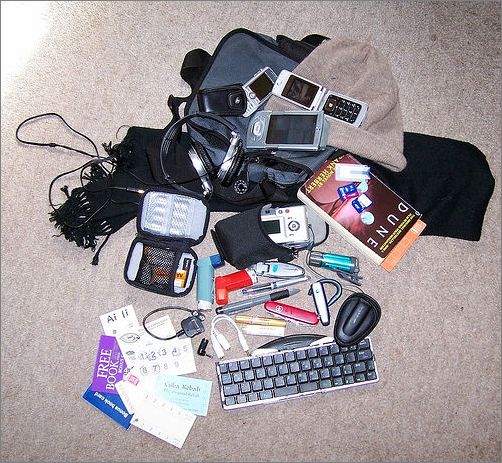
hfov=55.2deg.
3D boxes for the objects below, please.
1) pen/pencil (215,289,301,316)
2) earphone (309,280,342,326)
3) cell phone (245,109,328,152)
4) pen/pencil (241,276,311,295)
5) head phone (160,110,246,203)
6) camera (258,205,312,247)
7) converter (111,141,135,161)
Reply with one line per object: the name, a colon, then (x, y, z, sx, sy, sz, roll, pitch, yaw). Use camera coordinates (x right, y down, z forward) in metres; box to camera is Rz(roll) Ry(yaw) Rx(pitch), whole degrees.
pen/pencil: (0.028, 0.225, 1.526, 0.243, 0.028, 0.027, -14, 20, -2)
earphone: (0.236, 0.220, 1.500, 0.103, 0.031, 0.142, -11, 83, -2)
cell phone: (0.102, -0.311, 1.421, 0.205, 0.049, 0.120, 3, 85, 19)
pen/pencil: (0.084, 0.171, 1.534, 0.179, 0.019, 0.019, -12, 41, -2)
head phone: (-0.155, -0.255, 1.519, 0.267, 0.221, 0.238, -17, 55, -12)
camera: (0.104, -0.020, 1.498, 0.144, 0.079, 0.114, 1, 53, 1)
converter: (-0.436, -0.276, 1.655, 0.064, 0.017, 0.064, 1, 76, -13)
